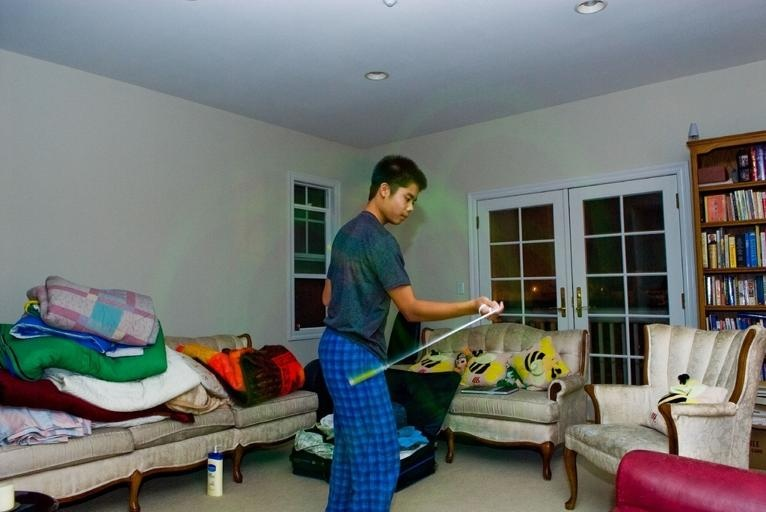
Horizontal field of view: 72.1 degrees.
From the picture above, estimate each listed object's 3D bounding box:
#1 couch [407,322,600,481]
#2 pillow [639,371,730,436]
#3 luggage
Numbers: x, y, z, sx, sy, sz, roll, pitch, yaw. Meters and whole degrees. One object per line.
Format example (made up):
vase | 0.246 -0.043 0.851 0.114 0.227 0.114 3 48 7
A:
couch | 1.110 1.234 4.801 1.834 1.320 1.082 -7 -17 27
pillow | 2.057 1.026 3.552 0.513 0.381 0.440 -3 -4 26
luggage | 0.077 1.313 4.588 1.129 0.701 1.161 -3 -9 31
